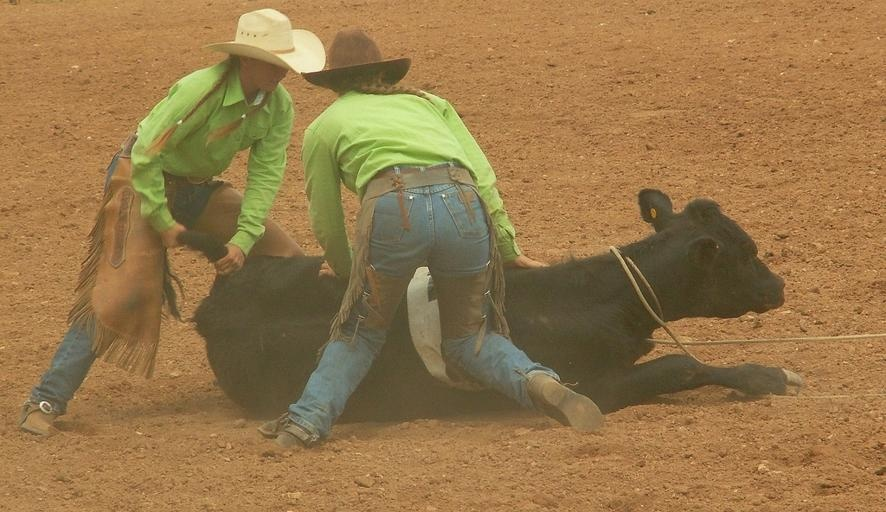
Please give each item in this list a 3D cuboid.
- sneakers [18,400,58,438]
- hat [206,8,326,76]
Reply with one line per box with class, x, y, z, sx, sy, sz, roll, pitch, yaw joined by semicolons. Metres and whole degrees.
sneakers;-3.643;1.461;13.009;0.316;0.283;0.277;-3;29;-8
hat;-1.642;-1.968;13.168;1.013;0.297;0.756;11;16;18
